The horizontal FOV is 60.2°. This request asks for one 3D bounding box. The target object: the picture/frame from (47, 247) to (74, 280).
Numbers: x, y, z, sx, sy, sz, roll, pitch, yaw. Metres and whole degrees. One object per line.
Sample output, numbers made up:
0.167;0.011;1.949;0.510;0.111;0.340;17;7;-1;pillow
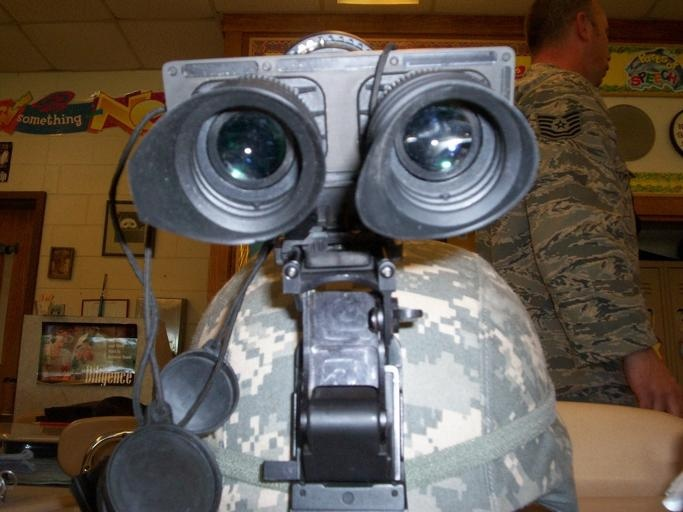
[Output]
-1.859;0.044;3.916;0.155;0.211;0.019;1;-11;2;picture/frame
